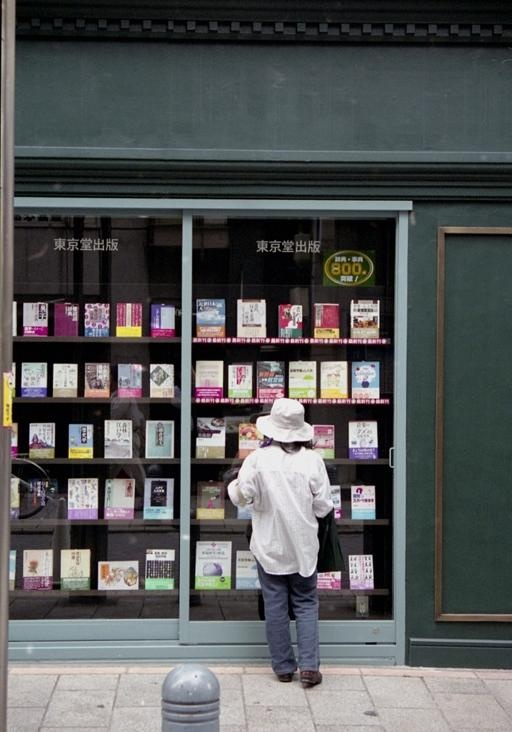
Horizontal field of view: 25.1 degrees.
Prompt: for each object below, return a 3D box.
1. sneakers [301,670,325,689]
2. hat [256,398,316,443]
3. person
[{"bbox_3d":[0.311,1.773,6.520,0.058,0.083,0.161,0,-2,15],"label":"sneakers"},{"bbox_3d":[0.175,0.331,6.598,0.234,0.157,0.269,5,18,-14],"label":"hat"},{"bbox_3d":[0.162,1.016,6.626,0.573,1.626,0.313,-2,2,3],"label":"person"}]
